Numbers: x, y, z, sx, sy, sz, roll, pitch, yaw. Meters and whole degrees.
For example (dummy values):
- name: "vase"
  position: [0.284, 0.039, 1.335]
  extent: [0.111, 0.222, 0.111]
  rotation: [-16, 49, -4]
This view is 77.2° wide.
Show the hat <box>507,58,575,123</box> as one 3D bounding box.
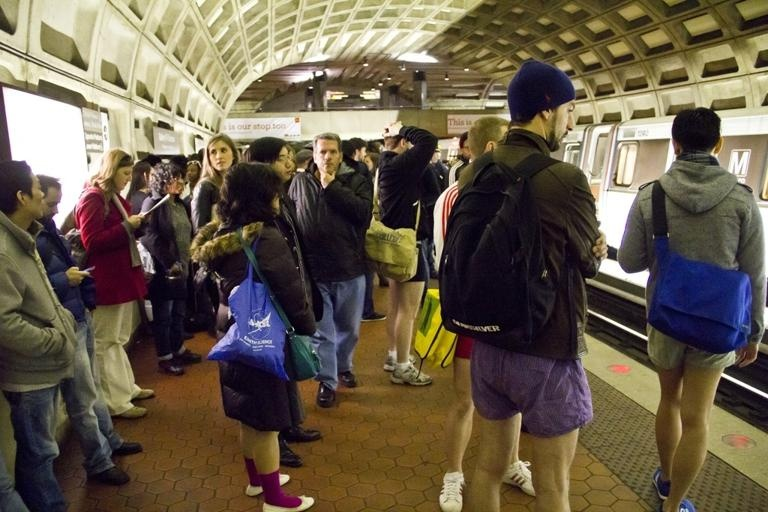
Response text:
- name: "hat"
  position: [0.936, -1.013, 2.904]
  extent: [0.422, 0.321, 0.389]
  rotation: [-12, 11, -7]

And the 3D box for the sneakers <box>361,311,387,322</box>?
- name: "sneakers"
  position: [-0.180, 0.971, 7.709]
  extent: [0.532, 0.196, 0.186]
  rotation: [-3, 6, -5]

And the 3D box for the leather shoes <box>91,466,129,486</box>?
- name: "leather shoes"
  position: [-2.384, 1.877, 4.162]
  extent: [0.382, 0.153, 0.138]
  rotation: [1, 11, -3]

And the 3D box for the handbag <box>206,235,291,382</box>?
- name: "handbag"
  position: [-0.945, 0.397, 3.378]
  extent: [0.516, 0.947, 0.235]
  rotation: [-1, 11, 3]

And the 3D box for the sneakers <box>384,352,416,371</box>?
- name: "sneakers"
  position: [0.190, 1.293, 6.039]
  extent: [0.171, 0.213, 0.490]
  rotation: [2, 6, 26]

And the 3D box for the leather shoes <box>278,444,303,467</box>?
- name: "leather shoes"
  position: [-0.863, 1.793, 4.363]
  extent: [0.185, 0.146, 0.251]
  rotation: [-6, 12, -23]

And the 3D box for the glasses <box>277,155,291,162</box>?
- name: "glasses"
  position: [-0.958, -0.922, 4.549]
  extent: [0.104, 0.045, 0.134]
  rotation: [-1, 2, -32]

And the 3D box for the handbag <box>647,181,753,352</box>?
- name: "handbag"
  position: [2.207, 0.072, 3.446]
  extent: [0.626, 1.133, 0.366]
  rotation: [6, 13, 32]

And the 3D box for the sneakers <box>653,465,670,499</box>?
- name: "sneakers"
  position: [2.249, 1.853, 3.956]
  extent: [0.089, 0.106, 0.260]
  rotation: [-2, 25, 12]

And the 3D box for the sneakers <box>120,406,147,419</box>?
- name: "sneakers"
  position: [-2.612, 1.636, 5.076]
  extent: [0.294, 0.118, 0.105]
  rotation: [-6, 9, -6]

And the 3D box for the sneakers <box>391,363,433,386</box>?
- name: "sneakers"
  position: [0.304, 1.364, 5.570]
  extent: [0.477, 0.224, 0.205]
  rotation: [1, 6, -3]
